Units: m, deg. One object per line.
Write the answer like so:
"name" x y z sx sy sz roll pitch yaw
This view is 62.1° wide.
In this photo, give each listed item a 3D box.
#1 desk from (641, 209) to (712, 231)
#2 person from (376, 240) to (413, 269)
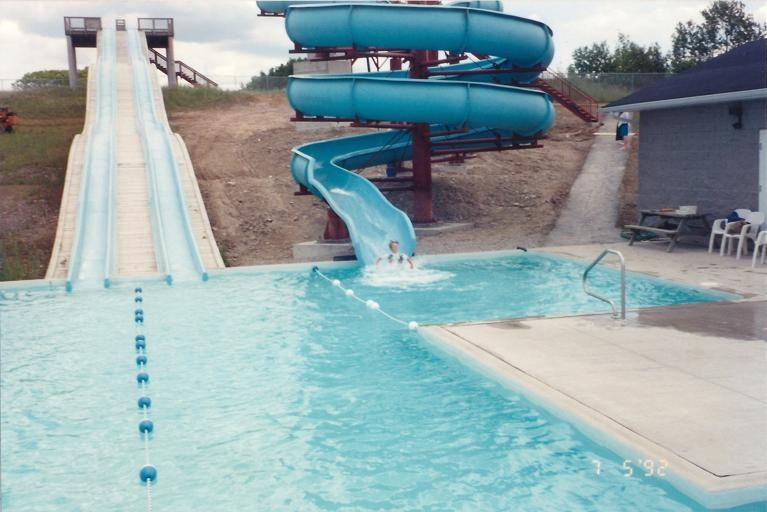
"desk" 7.277 -0.843 15.851 1.205 0.277 1.013 -6 11 -22
"person" 0.251 -0.082 14.833 0.877 0.600 0.829 0 11 1
